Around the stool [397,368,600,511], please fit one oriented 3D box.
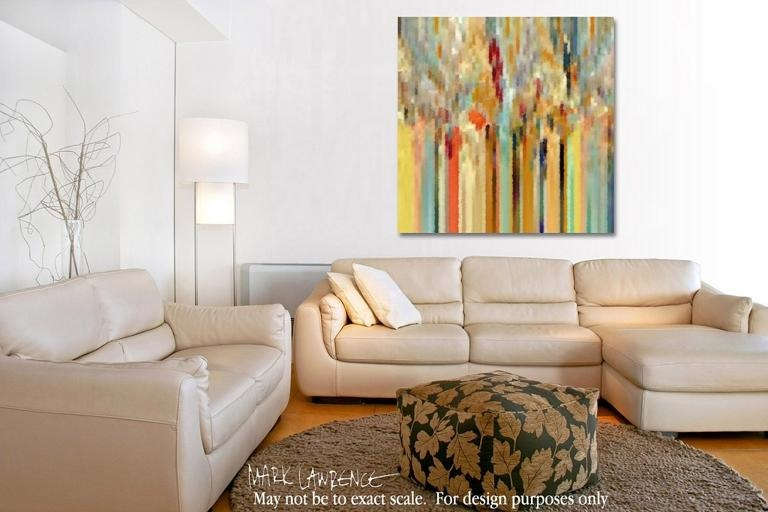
[{"bbox_3d":[0.583,0.961,3.465,0.847,0.490,0.778,2,-6,-37],"label":"stool"}]
